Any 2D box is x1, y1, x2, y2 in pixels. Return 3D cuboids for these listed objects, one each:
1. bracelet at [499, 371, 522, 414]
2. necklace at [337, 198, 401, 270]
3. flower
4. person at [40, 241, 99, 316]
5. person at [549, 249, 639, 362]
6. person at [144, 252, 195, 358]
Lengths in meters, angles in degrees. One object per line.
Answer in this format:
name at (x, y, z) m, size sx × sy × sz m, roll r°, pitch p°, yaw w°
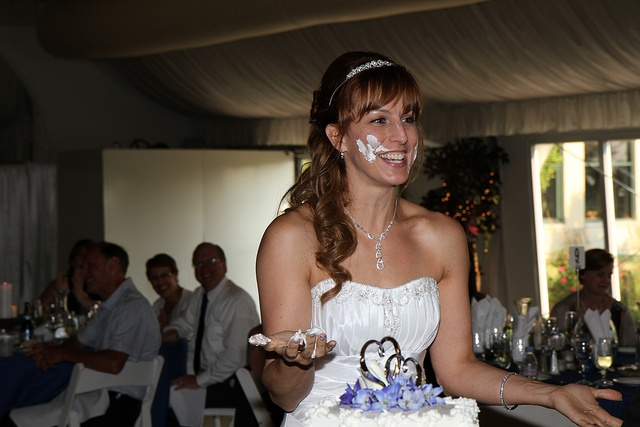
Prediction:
bracelet at (1.238, 1.220, 4.085) m, size 0.046 × 0.225 × 0.205 m, roll 6°, pitch 32°, yaw 35°
necklace at (0.386, 0.092, 4.254) m, size 0.305 × 0.050 × 0.658 m, roll -3°, pitch -47°, yaw 11°
flower at (0.413, 1.126, 3.783) m, size 0.574 × 0.182 × 0.666 m, roll 1°, pitch -13°, yaw -9°
person at (-3.371, 0.894, 8.258) m, size 0.539 × 1.203 × 0.450 m, roll 10°, pitch -25°, yaw -21°
person at (3.269, 1.074, 7.173) m, size 0.861 × 1.456 × 0.465 m, roll 2°, pitch -12°, yaw -6°
person at (-2.153, 1.146, 8.807) m, size 0.634 × 1.256 × 0.625 m, roll -11°, pitch 2°, yaw 0°
